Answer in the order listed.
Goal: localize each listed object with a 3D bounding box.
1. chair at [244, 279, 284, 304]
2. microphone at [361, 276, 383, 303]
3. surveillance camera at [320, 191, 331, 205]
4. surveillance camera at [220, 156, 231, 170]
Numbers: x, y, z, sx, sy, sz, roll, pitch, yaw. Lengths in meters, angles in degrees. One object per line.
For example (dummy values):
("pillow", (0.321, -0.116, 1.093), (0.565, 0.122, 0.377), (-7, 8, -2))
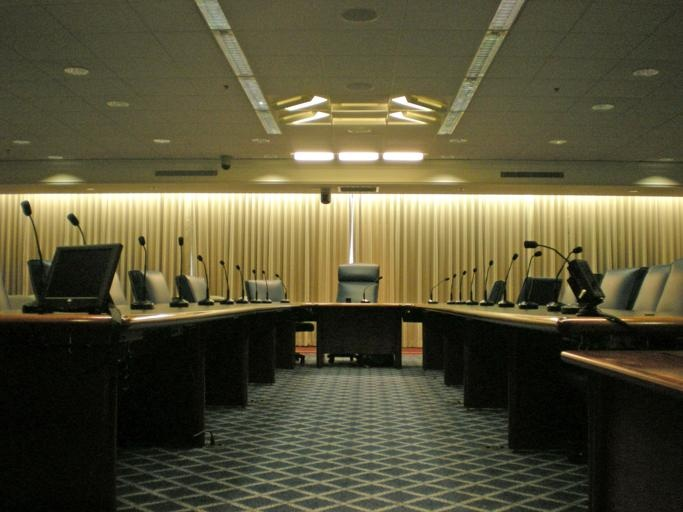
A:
("chair", (-1.002, 0.467, 7.326), (0.410, 0.396, 0.417), (3, -9, -22))
("microphone", (0.406, 0.455, 7.664), (0.254, 0.324, 0.314), (-1, 2, 1))
("surveillance camera", (-0.297, -1.049, 9.763), (0.244, 0.302, 0.210), (1, 5, -7))
("surveillance camera", (-1.845, -1.484, 8.758), (0.230, 0.179, 0.203), (1, -3, -14))
